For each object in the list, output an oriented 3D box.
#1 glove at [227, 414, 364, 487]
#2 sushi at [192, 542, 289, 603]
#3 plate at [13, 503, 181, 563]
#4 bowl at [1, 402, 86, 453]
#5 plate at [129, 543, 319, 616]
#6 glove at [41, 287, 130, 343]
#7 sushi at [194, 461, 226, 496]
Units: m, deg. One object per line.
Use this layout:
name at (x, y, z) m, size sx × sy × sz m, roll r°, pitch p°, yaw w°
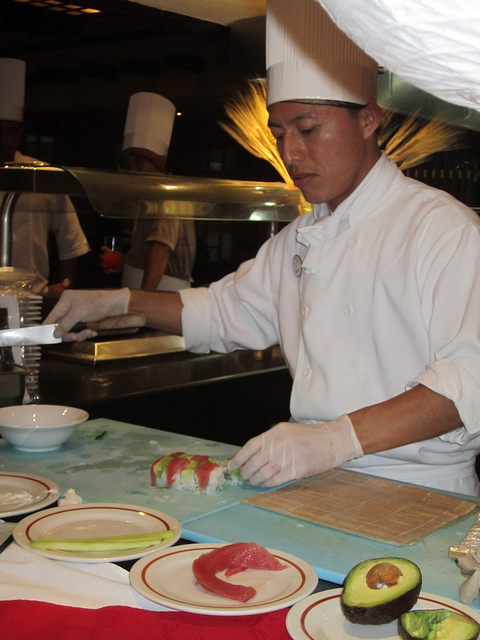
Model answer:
glove at (0.115, 0.269, 1.227) m, size 0.258 × 0.075 × 0.130 m, roll -13°, pitch 41°, yaw -12°
sushi at (0.000, 0.342, 0.802) m, size 0.151 × 0.038 × 0.135 m, roll 3°, pitch 3°, yaw -2°
plate at (-0.225, 0.338, 0.942) m, size 0.264 × 0.019 × 0.234 m, roll 4°, pitch 2°, yaw 34°
bowl at (-0.503, 0.280, 1.491) m, size 0.219 × 0.096 × 0.234 m, roll 3°, pitch 2°, yaw 0°
plate at (-0.024, 0.342, 0.781) m, size 0.240 × 0.020 × 0.212 m, roll 3°, pitch 2°, yaw 20°
glove at (-0.529, -0.044, 1.897) m, size 0.230 × 0.181 × 0.227 m, roll 9°, pitch 13°, yaw 33°
sushi at (-0.063, 0.321, 1.190) m, size 0.063 × 0.047 × 0.059 m, roll -6°, pitch 9°, yaw -25°
